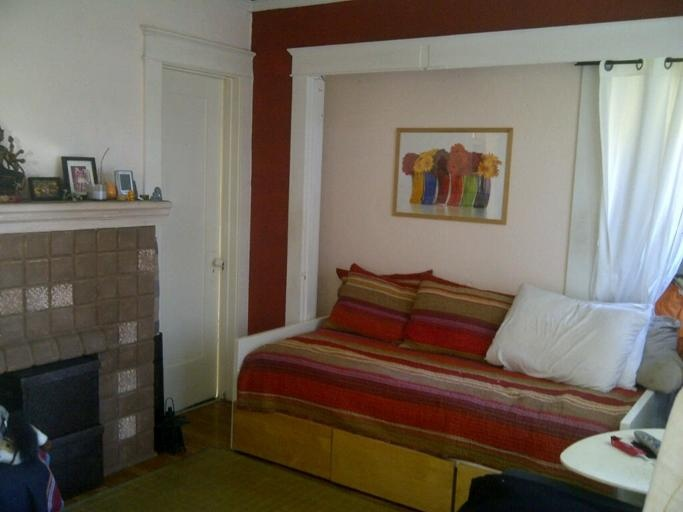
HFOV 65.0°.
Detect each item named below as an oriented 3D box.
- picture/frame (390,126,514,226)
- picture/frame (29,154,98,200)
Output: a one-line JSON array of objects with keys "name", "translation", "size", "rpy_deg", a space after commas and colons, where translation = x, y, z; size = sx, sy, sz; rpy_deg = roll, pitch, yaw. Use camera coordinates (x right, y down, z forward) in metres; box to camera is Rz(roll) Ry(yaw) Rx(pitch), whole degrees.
[{"name": "picture/frame", "translation": [0.856, -0.603, 3.983], "size": [0.656, 0.565, 0.027], "rpy_deg": [8, 8, 27]}, {"name": "picture/frame", "translation": [-1.601, -0.445, 3.105], "size": [0.168, 0.243, 0.413], "rpy_deg": [4, 13, 11]}]
